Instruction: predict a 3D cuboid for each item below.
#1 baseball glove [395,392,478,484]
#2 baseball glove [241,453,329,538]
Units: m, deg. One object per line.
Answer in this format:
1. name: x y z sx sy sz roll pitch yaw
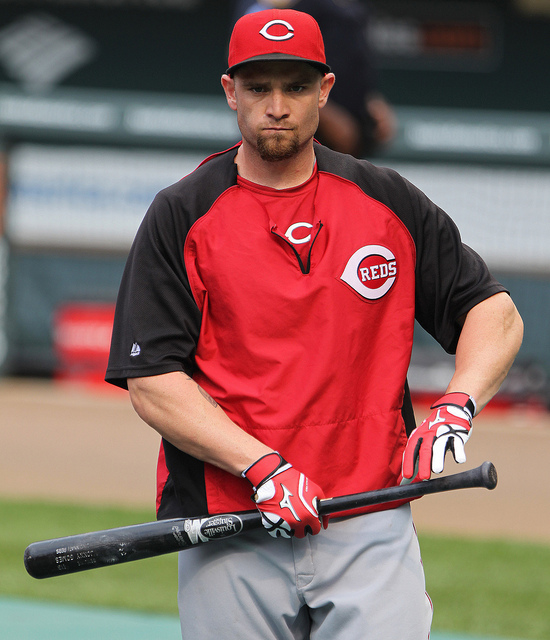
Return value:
1. baseball glove: 0.424 0.304 3.002 0.163 0.079 0.280 16 55 33
2. baseball glove: 0.008 0.445 2.999 0.190 0.206 0.095 -28 -3 -21
